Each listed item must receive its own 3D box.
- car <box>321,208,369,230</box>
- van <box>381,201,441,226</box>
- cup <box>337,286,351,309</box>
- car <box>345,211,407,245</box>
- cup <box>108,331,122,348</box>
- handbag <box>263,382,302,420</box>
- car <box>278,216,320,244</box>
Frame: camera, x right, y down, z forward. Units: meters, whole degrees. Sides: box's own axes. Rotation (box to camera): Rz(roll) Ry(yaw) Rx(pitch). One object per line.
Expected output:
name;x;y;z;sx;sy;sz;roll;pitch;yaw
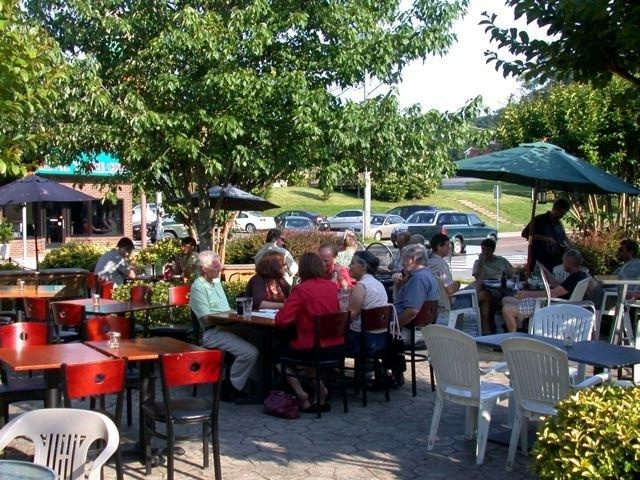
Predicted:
car;1.393;-1.257;35.124;2.286;1.233;1.406;3;-1;17
van;4.835;-1.372;35.908;2.357;0.962;1.144;1;0;-8
cup;0.363;0.786;8.931;0.196;0.391;0.204;1;-2;0
car;2.985;-0.650;32.907;1.231;1.030;2.842;2;1;41
cup;-1.905;0.925;6.257;0.103;0.156;0.302;-1;7;-20
handbag;-0.396;1.709;7.462;0.433;0.292;0.235;5;8;38
car;-0.667;-0.350;21.844;1.290;1.081;2.974;-2;8;-11
